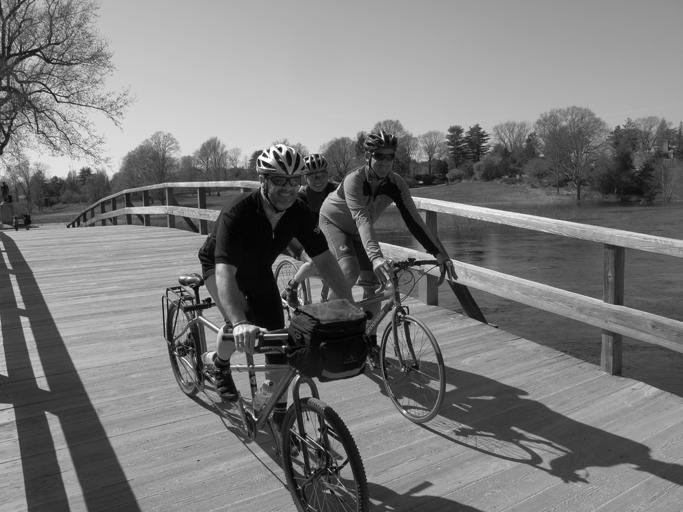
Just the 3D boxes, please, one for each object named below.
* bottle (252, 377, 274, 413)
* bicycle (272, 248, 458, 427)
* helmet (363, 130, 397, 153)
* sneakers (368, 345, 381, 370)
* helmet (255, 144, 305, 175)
[{"bbox_3d":[-0.524,0.976,3.845,0.135,0.260,0.068,28,14,38],"label":"bottle"},{"bbox_3d":[0.325,0.695,5.390,1.041,1.310,1.986,-6,9,-37],"label":"bicycle"},{"bbox_3d":[0.358,-0.985,5.149,0.294,0.199,0.319,-2,8,1],"label":"helmet"},{"bbox_3d":[0.293,0.930,4.936,0.133,0.173,0.418,0,3,-2],"label":"sneakers"},{"bbox_3d":[-0.422,-0.600,3.780,0.334,0.208,0.331,-3,8,-9],"label":"helmet"}]
